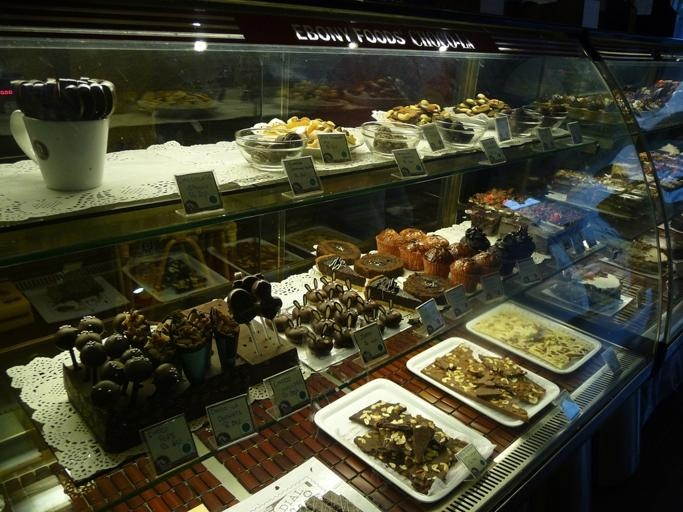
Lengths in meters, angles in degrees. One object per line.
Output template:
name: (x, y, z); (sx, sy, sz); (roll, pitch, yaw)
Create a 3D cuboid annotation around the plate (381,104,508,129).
plate: (0.445, -0.613, 1.959); (0.408, 0.050, 0.251); (2, 9, 7)

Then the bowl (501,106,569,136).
bowl: (0.913, -0.634, 2.139); (0.231, 0.061, 0.237); (0, 12, 0)

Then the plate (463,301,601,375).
plate: (0.912, 0.398, 2.206); (0.503, 0.055, 0.359); (22, 31, 34)

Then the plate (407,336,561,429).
plate: (0.588, 0.532, 1.947); (0.459, 0.060, 0.336); (22, 31, 38)

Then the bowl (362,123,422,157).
bowl: (0.193, -0.430, 1.717); (0.197, 0.069, 0.160); (-6, 22, -19)

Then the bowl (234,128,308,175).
bowl: (-0.220, -0.340, 1.462); (0.192, 0.066, 0.172); (10, 21, 24)

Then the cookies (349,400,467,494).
cookies: (0.230, 0.685, 1.648); (0.344, 0.088, 0.234); (21, 32, 34)
